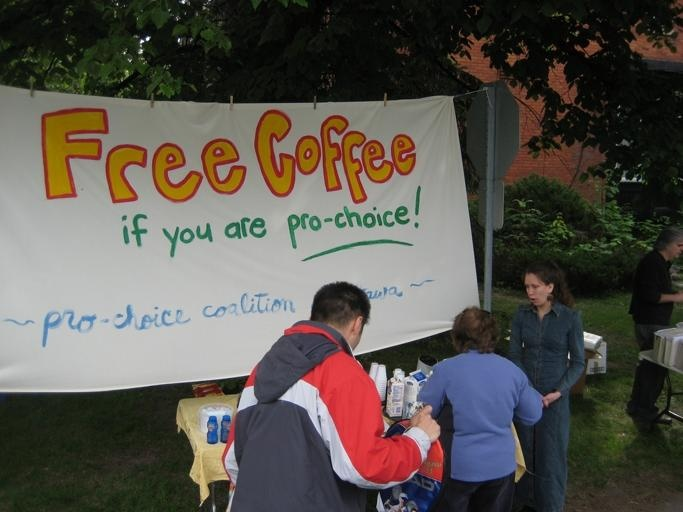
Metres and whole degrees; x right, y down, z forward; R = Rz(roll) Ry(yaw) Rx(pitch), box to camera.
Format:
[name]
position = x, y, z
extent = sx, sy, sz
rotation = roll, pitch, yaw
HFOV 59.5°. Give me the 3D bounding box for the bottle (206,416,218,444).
[bottle]
position = -1.106, 1.496, 5.118
extent = 0.086, 0.235, 0.068
rotation = -1, 1, -11
